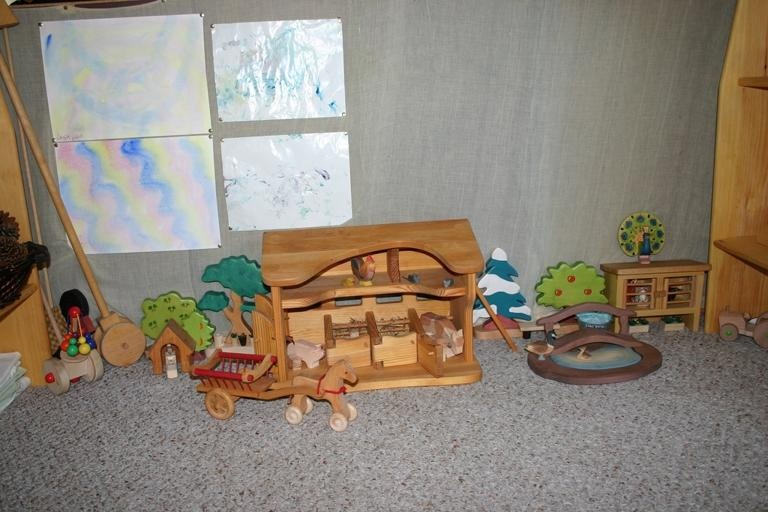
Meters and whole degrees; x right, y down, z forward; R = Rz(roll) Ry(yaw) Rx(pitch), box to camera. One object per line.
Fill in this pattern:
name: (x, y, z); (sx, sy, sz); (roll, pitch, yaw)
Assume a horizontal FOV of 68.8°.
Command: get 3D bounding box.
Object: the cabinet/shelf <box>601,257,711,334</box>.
cabinet/shelf: (1.972, 0.304, 4.141); (0.754, 0.463, 0.243); (-2, 4, -8)
